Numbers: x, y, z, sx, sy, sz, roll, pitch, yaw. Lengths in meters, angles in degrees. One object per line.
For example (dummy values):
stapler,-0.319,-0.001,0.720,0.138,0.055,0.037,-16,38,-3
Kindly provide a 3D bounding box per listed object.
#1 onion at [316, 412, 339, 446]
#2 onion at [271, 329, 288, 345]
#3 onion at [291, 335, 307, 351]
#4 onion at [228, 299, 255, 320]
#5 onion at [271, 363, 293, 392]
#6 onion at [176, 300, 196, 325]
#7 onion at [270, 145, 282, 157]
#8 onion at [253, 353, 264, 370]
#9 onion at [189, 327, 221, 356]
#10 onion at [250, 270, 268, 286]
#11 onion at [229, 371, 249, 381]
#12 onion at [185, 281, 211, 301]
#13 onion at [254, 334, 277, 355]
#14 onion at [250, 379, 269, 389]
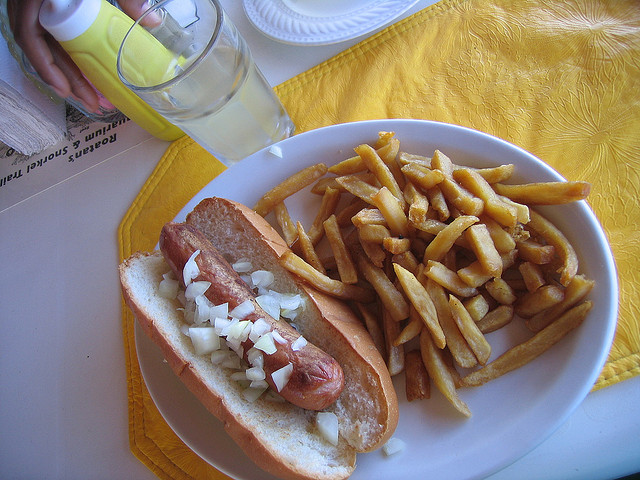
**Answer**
onion,0.035,0.856,2.565,0.102,0.060,0.134,2,76,10
onion,-0.174,0.420,2.457,0.022,0.049,0.059,-43,80,7
onion,-0.089,0.460,2.468,0.066,0.057,0.050,-43,72,-4
onion,-0.341,0.318,2.485,0.079,0.030,0.082,39,76,17
onion,-0.147,0.587,2.419,0.098,0.042,0.071,-29,72,2
onion,-0.618,0.339,2.642,0.097,0.033,0.111,24,112,54
onion,-0.222,-0.459,2.918,0.052,0.015,0.055,10,86,2
onion,-0.263,0.530,2.463,0.049,0.019,0.056,11,78,13
onion,-0.516,0.453,2.554,0.110,0.123,0.131,-12,82,1
onion,-0.295,0.179,2.725,0.054,0.020,0.069,20,69,4
onion,-0.367,0.628,2.595,0.111,0.035,0.039,-6,69,29
onion,-0.545,0.231,2.545,0.118,0.039,0.083,0,75,10
onion,-0.229,0.464,2.437,0.076,0.030,0.084,-40,73,-2
onion,-0.271,0.661,2.572,0.059,0.055,0.027,14,106,-3
